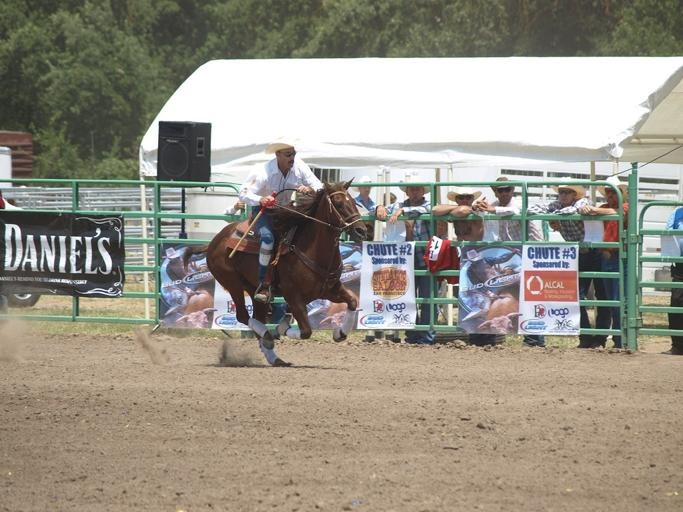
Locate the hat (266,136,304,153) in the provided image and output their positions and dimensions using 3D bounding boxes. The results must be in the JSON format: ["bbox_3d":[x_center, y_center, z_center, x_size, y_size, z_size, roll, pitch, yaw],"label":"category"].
[{"bbox_3d":[-0.814,-1.651,17.555,0.349,0.091,0.334,-1,-13,-37],"label":"hat"}]

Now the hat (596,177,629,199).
[{"bbox_3d":[4.704,-1.226,20.333,0.550,0.211,0.578,1,-22,2],"label":"hat"}]

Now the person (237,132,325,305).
[{"bbox_3d":[-1.013,-0.548,17.838,1.269,2.235,1.203,-5,5,-42],"label":"person"}]

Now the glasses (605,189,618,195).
[{"bbox_3d":[4.384,-1.038,19.170,0.114,0.053,0.141,2,-7,-1],"label":"glasses"}]

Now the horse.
[{"bbox_3d":[-0.758,0.304,17.707,2.655,2.732,0.809,-1,-4,33],"label":"horse"}]

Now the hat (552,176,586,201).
[{"bbox_3d":[3.841,-1.096,19.565,0.402,0.147,0.456,-4,-16,41],"label":"hat"}]
